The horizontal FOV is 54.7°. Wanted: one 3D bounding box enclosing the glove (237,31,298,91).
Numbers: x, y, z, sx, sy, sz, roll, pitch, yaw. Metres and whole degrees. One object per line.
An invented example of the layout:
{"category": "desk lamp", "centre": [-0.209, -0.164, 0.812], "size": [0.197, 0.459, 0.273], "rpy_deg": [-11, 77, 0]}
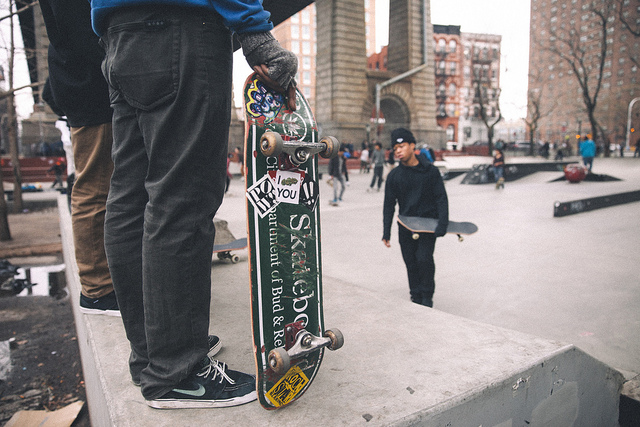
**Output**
{"category": "glove", "centre": [-0.346, -1.092, 4.483], "size": [0.469, 0.293, 0.163], "rpy_deg": [40, -11, -14]}

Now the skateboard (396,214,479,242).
{"category": "skateboard", "centre": [1.107, 0.172, 6.331], "size": [0.978, 0.304, 0.181], "rpy_deg": [2, -35, 5]}

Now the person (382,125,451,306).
{"category": "person", "centre": [0.996, 0.022, 6.384], "size": [0.672, 1.831, 0.516], "rpy_deg": [-2, 3, 21]}

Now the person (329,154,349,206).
{"category": "person", "centre": [0.412, -0.683, 13.142], "size": [0.403, 0.496, 1.340], "rpy_deg": [19, -9, 5]}

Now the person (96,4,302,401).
{"category": "person", "centre": [-0.949, -0.089, 4.503], "size": [1.239, 2.831, 0.393], "rpy_deg": [-3, 3, -3]}

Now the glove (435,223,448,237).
{"category": "glove", "centre": [1.212, 0.163, 6.171], "size": [0.127, 0.143, 0.134], "rpy_deg": [-2, 3, 11]}
